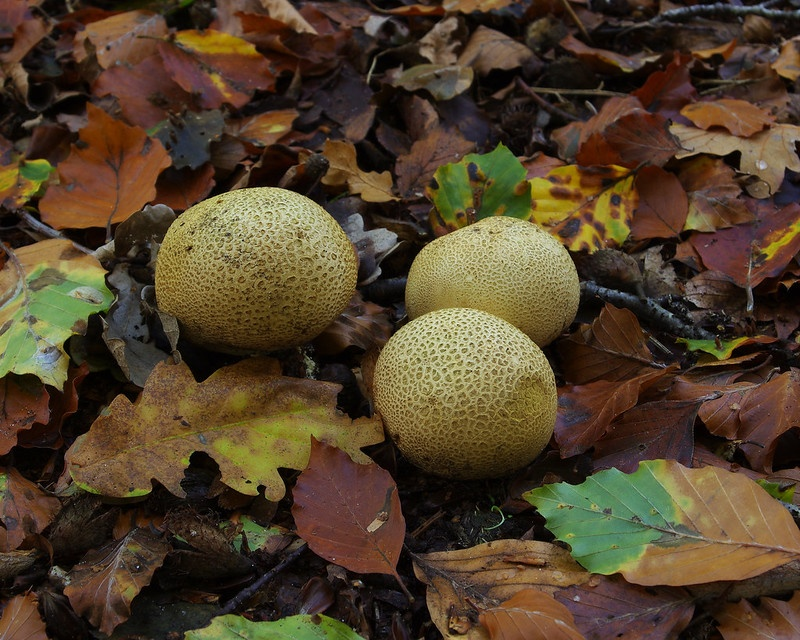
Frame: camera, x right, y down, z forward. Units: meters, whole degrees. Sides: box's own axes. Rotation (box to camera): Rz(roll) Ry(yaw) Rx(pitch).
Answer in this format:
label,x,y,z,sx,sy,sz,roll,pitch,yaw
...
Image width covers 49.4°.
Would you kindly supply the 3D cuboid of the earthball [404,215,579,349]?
label,x,y,z,sx,sy,sz,roll,pitch,yaw
earthball,0.383,-0.152,3.350,0.722,0.415,0.451,4,32,25
